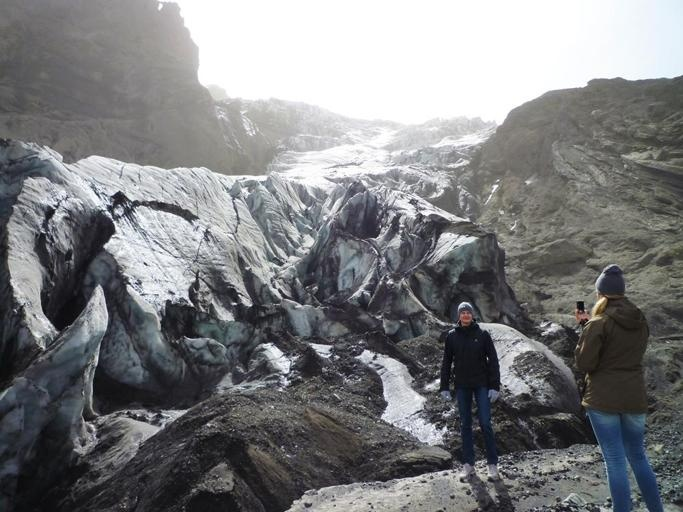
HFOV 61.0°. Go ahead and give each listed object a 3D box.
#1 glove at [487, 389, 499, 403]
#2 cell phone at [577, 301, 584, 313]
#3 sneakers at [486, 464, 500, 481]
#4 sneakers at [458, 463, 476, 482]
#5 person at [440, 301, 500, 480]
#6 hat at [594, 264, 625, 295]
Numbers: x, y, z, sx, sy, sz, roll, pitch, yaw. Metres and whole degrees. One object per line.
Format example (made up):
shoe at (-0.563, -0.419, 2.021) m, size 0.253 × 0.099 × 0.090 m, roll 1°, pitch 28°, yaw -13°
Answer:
glove at (2.200, 2.000, 8.382) m, size 0.184 × 0.199 × 0.091 m, roll -7°, pitch 14°, yaw -25°
cell phone at (3.193, 0.682, 7.771) m, size 0.042 × 0.168 × 0.114 m, roll 0°, pitch -2°, yaw 2°
sneakers at (2.196, 3.078, 8.385) m, size 0.174 × 0.229 × 0.248 m, roll 3°, pitch 14°, yaw 15°
sneakers at (1.765, 3.141, 8.413) m, size 0.335 × 0.186 × 0.125 m, roll 4°, pitch -17°, yaw -37°
person at (1.921, 2.087, 8.529) m, size 0.728 × 2.716 × 1.047 m, roll -11°, pitch 16°, yaw -39°
hat at (3.530, 0.266, 7.618) m, size 0.345 × 0.422 × 0.392 m, roll 7°, pitch 16°, yaw 6°
